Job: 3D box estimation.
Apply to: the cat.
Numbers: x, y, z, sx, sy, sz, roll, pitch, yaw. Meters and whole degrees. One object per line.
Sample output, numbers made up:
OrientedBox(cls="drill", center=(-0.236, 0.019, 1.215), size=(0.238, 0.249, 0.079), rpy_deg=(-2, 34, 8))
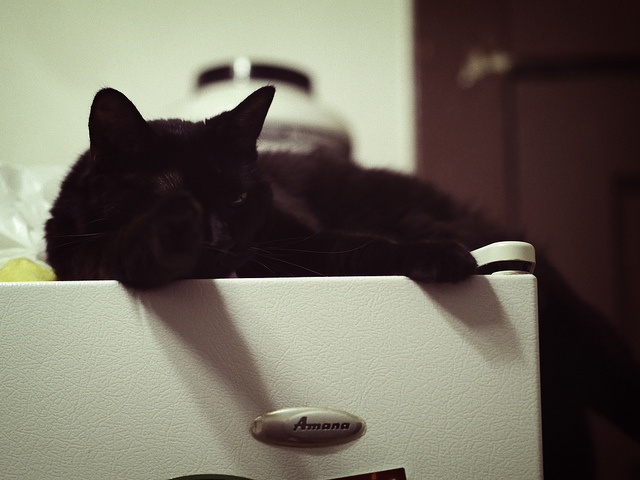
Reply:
OrientedBox(cls="cat", center=(-0.135, -0.136, 1.539), size=(1.026, 0.478, 0.475), rpy_deg=(-4, 16, -2))
